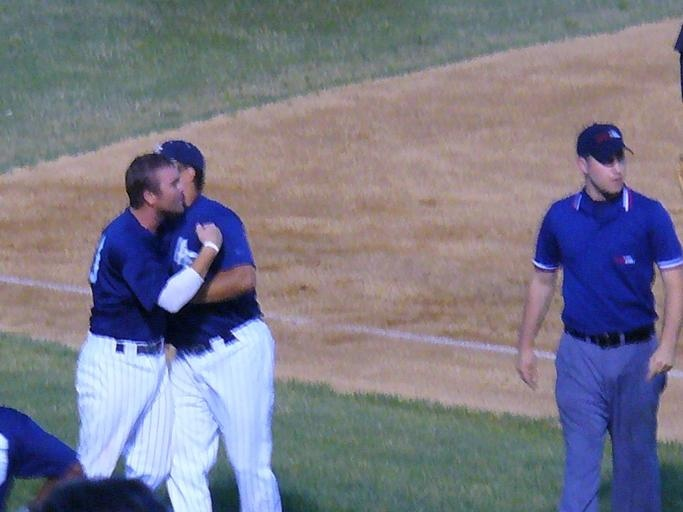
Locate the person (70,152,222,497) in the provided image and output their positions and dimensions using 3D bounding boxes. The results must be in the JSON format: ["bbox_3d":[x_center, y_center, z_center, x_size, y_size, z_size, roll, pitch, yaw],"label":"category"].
[{"bbox_3d":[-1.720,0.558,16.073,1.067,2.894,0.553,2,-1,-10],"label":"person"}]

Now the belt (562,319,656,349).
[{"bbox_3d":[2.281,0.680,16.061,0.758,0.212,0.115,2,-1,10],"label":"belt"}]

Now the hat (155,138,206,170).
[{"bbox_3d":[-1.371,-0.871,16.206,0.330,0.143,0.245,28,1,-11],"label":"hat"}]

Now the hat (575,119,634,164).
[{"bbox_3d":[2.250,-1.004,16.174,0.416,0.344,0.565,-10,6,-26],"label":"hat"}]
